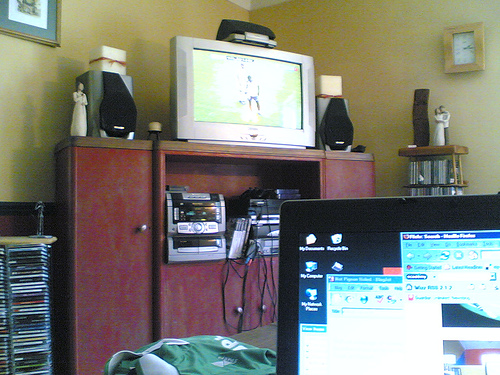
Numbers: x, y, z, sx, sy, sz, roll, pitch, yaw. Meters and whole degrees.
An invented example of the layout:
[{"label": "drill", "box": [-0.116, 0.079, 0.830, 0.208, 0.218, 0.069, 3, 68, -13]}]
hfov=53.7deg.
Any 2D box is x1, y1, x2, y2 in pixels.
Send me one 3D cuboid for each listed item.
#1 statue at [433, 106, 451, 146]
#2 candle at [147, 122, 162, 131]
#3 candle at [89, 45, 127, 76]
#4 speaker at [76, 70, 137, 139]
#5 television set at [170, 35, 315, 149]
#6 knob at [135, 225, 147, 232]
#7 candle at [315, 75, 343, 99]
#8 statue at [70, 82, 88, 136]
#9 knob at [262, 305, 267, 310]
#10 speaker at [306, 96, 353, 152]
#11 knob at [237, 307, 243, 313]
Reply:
[{"label": "statue", "box": [1.273, -0.407, 3.263, 0.089, 0.267, 0.141, 2, 2, 17]}, {"label": "candle", "box": [-0.588, -0.362, 2.985, 0.082, 0.034, 0.070, 0, -4, -11]}, {"label": "candle", "box": [-0.780, -0.711, 2.828, 0.217, 0.161, 0.189, -4, -8, -1]}, {"label": "speaker", "box": [-0.804, -0.465, 2.762, 0.323, 0.386, 0.216, 1, 2, -17]}, {"label": "television set", "box": [-0.228, -0.573, 3.343, 0.685, 0.646, 1.245, 1, 3, 44]}, {"label": "knob", "box": [-0.590, 0.224, 2.686, 0.061, 0.038, 0.026, 0, 2, -40]}, {"label": "candle", "box": [0.550, -0.694, 3.465, 0.200, 0.108, 0.169, 1, -7, -9]}, {"label": "statue", "box": [-0.927, -0.430, 2.685, 0.079, 0.308, 0.159, 1, 2, -12]}, {"label": "knob", "box": [0.088, 0.734, 3.018, 0.011, 0.027, 0.036, 3, 2, 36]}, {"label": "speaker", "box": [0.527, -0.419, 3.492, 0.330, 0.384, 0.329, -2, 1, 34]}, {"label": "knob", "box": [-0.059, 0.729, 2.930, 0.045, 0.030, 0.021, 0, -6, -9]}]
